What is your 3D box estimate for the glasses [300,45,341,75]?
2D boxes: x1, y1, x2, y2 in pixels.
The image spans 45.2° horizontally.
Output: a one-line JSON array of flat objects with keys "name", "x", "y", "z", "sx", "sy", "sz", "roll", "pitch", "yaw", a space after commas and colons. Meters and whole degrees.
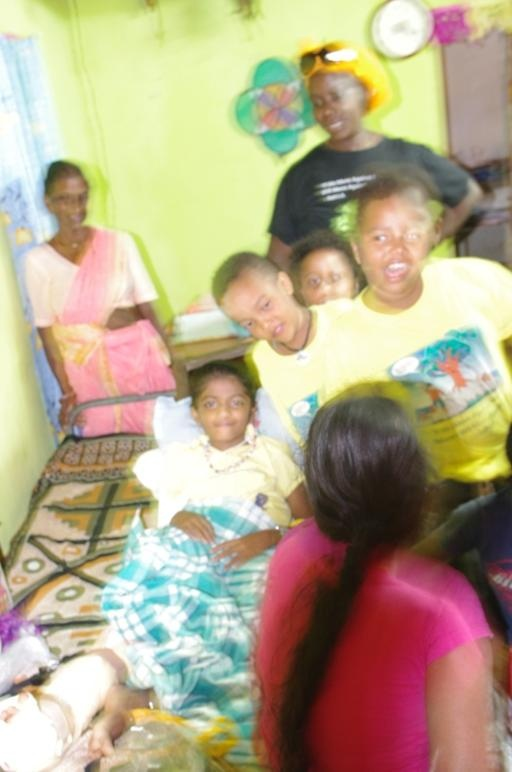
[{"name": "glasses", "x": 0.175, "y": -0.902, "z": 1.680, "sx": 0.097, "sy": 0.053, "sz": 0.024, "roll": 2, "pitch": 11, "yaw": 31}]
